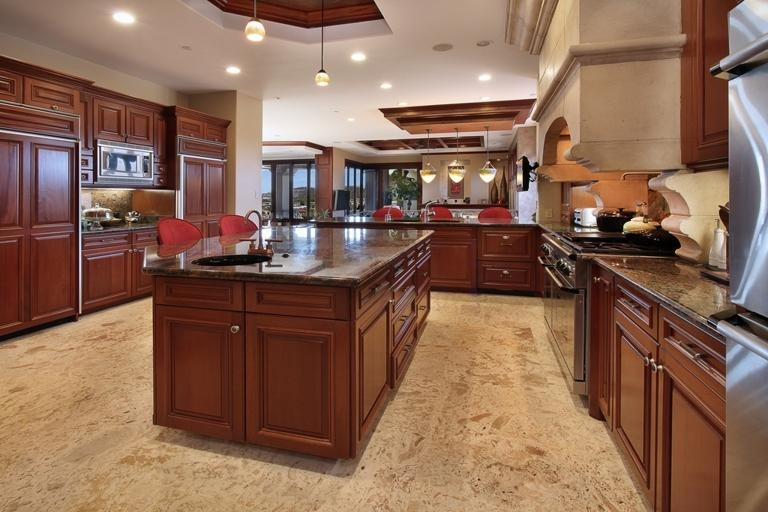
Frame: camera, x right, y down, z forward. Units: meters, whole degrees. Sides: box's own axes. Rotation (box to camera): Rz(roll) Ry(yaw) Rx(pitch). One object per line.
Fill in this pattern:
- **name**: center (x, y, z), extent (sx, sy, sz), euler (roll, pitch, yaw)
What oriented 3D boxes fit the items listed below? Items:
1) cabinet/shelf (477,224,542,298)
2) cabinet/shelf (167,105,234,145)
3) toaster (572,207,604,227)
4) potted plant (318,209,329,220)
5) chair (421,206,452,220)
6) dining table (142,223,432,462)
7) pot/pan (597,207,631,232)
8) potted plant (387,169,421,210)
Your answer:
- **cabinet/shelf**: center (1.764, 0.038, 6.512), extent (0.750, 0.840, 0.847), euler (1, 1, 25)
- **cabinet/shelf**: center (-2.554, -1.792, 6.805), extent (0.182, 0.415, 0.938), euler (4, 9, 29)
- **toaster**: center (2.217, -0.425, 5.350), extent (0.235, 0.165, 0.322), euler (0, 4, 7)
- **potted plant**: center (-1.583, -1.113, 12.829), extent (0.300, 0.190, 0.650), euler (-2, 8, -7)
- **chair**: center (0.858, -0.658, 7.592), extent (0.305, 0.159, 0.413), euler (1, 0, 3)
- **dining table**: center (-0.655, 0.546, 3.458), extent (1.371, 0.986, 2.037), euler (1, 5, 13)
- **pot/pan**: center (2.023, -0.331, 4.318), extent (0.223, 0.137, 0.222), euler (-6, 10, -33)
- **potted plant**: center (0.661, -2.151, 15.610), extent (1.272, 1.758, 1.510), euler (-1, 6, -2)
